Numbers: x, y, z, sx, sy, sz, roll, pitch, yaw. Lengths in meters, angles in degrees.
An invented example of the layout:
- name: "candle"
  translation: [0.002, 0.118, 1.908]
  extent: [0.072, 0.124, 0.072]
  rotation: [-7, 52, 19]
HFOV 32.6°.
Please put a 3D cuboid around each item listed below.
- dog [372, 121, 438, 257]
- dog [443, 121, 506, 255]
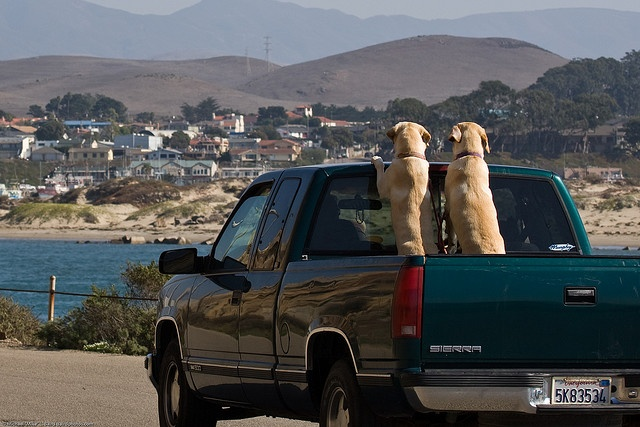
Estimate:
- name: "dog"
  translation: [0.783, -0.251, 10.379]
  extent: [0.483, 1.422, 0.637]
  rotation: [4, -28, -13]
- name: "dog"
  translation: [1.454, -0.203, 10.217]
  extent: [0.381, 1.598, 0.858]
  rotation: [2, -35, -8]
